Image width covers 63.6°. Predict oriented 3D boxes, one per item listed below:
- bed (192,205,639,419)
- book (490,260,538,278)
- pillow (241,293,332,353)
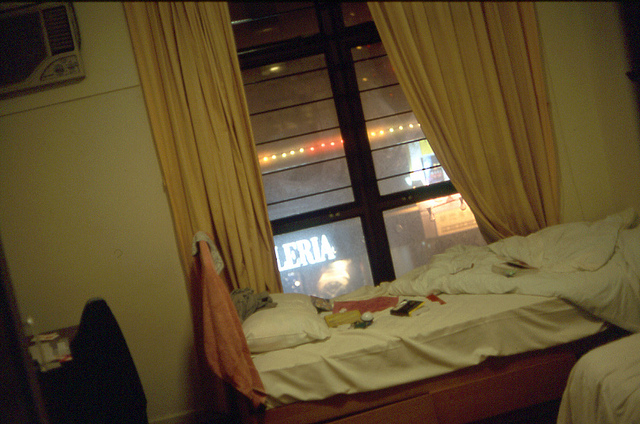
[{"bbox_3d":[0.765,0.846,4.146,2.753,1.332,1.794,-6,2,0],"label":"bed"},{"bbox_3d":[1.510,0.444,4.068,0.184,0.051,0.167,1,13,-32],"label":"book"},{"bbox_3d":[-0.301,0.842,4.091,0.581,0.257,0.961,-6,7,-3],"label":"pillow"}]
